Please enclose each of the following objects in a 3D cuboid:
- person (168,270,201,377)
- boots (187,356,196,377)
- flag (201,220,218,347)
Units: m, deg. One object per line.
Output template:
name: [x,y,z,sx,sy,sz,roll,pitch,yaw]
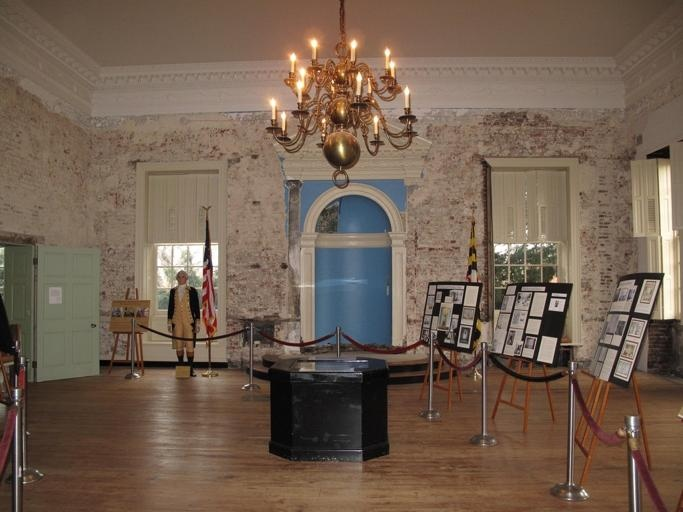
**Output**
person: [-2.698,1.158,11.494,0.531,1.785,0.787,3,-4,-18]
boots: [-2.573,1.885,11.487,0.139,0.360,0.270,3,-4,-13]
flag: [-2.323,0.345,11.934,0.296,2.175,0.900,3,-4,-10]
